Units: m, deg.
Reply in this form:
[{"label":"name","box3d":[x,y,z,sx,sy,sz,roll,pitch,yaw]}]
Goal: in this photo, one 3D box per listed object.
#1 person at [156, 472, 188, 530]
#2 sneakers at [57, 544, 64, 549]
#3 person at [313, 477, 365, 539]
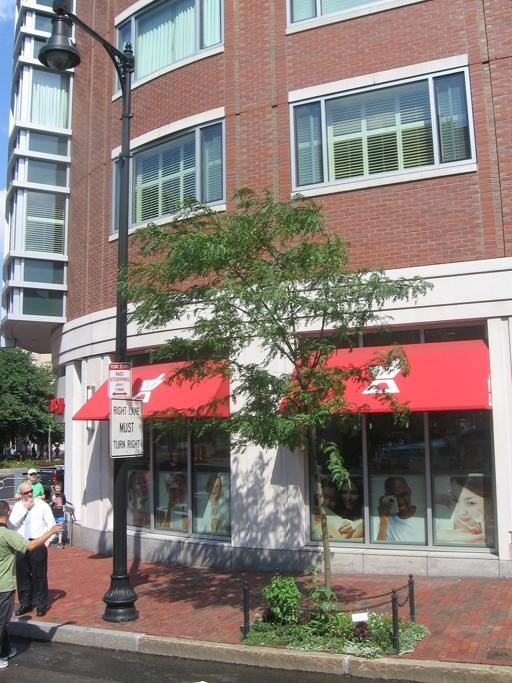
[{"label":"person","box3d":[-1.536,2.973,14.304,1.076,1.199,0.276,-7,-10,44]},{"label":"sneakers","box3d":[-4.218,4.396,16.610,0.148,0.055,0.188,1,-4,-8]},{"label":"person","box3d":[1.350,2.666,12.266,0.716,0.970,0.256,-7,-4,36]}]
